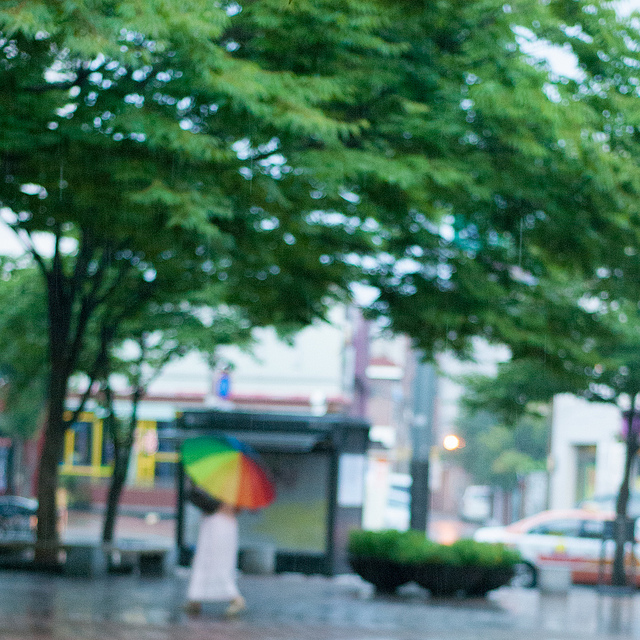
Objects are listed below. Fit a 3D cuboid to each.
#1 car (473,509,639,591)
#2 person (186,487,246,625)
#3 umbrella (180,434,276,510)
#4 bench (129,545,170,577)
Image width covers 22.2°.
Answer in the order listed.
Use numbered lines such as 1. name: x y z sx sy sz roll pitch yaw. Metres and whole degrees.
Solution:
1. car: 3.388 3.267 22.806 2.535 0.755 1.010 -1 -1 4
2. person: -1.238 2.859 19.647 0.658 1.619 0.922 2 -6 9
3. umbrella: -1.110 1.862 19.674 1.099 0.833 0.662 3 -6 -4
4. bench: -2.335 3.313 22.334 0.469 0.408 0.436 0 0 -1
